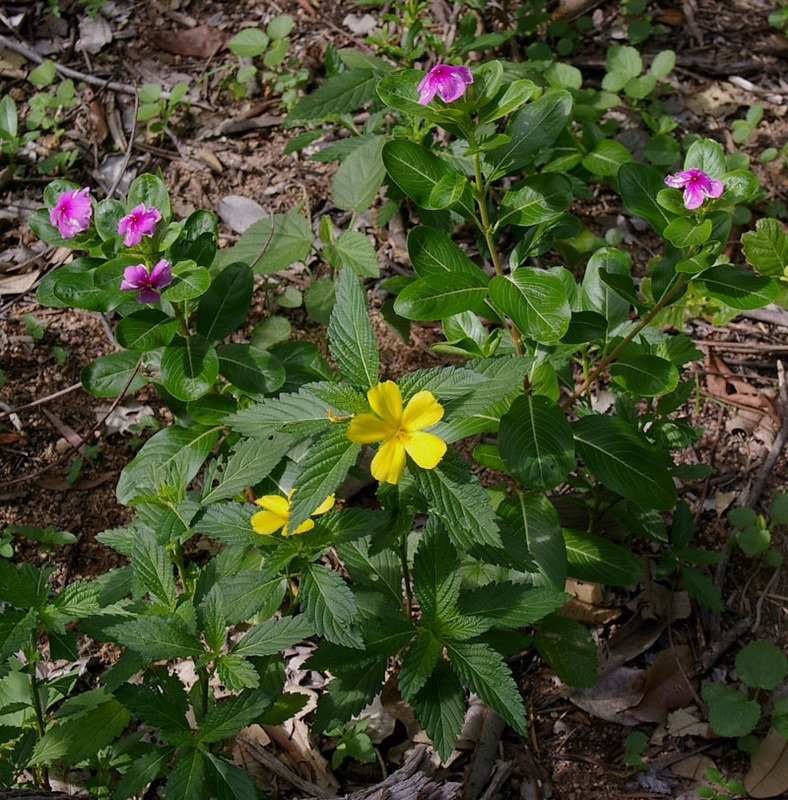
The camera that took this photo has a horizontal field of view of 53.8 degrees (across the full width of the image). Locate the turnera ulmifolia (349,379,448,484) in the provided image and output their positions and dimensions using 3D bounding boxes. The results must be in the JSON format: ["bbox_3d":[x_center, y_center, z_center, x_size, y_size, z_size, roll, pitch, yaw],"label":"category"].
[{"bbox_3d":[0.023,0.077,1.943,0.234,0.228,0.198,11,43,16],"label":"turnera ulmifolia"}]

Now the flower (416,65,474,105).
[{"bbox_3d":[0.148,-0.910,2.242,0.156,0.104,0.109,-1,40,3],"label":"flower"}]

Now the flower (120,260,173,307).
[{"bbox_3d":[-0.788,-0.371,2.475,0.176,0.131,0.055,-5,4,-11],"label":"flower"}]

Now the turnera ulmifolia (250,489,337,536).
[{"bbox_3d":[-0.282,0.311,2.131,0.218,0.066,0.173,-6,57,9],"label":"turnera ulmifolia"}]

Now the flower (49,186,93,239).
[{"bbox_3d":[-1.080,-0.646,2.608,0.064,0.179,0.181,30,70,-18],"label":"flower"}]
